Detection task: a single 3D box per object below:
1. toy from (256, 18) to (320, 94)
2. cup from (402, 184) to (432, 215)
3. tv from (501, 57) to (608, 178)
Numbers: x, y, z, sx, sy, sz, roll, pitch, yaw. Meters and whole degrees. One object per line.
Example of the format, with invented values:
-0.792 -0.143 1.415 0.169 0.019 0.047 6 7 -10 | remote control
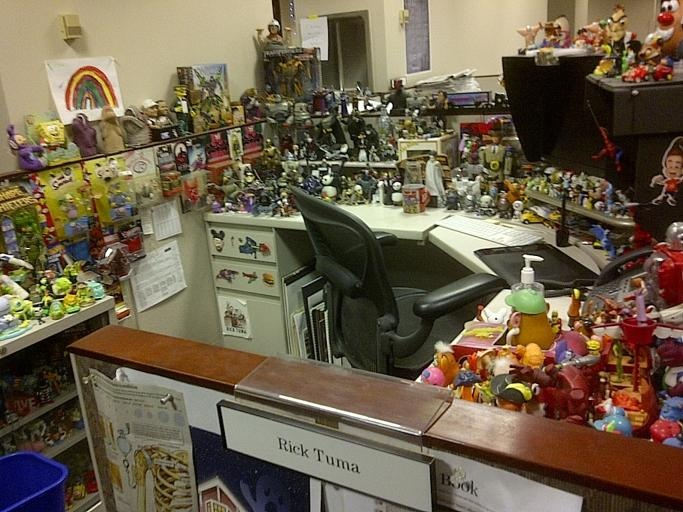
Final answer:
-0.372 -1.322 3.262 0.440 0.442 0.195 1 13 -4 | toy
0.400 -0.309 2.586 0.182 0.182 0.108 4 19 11 | cup
0.938 -0.611 2.054 0.254 0.491 0.535 -14 24 -18 | tv
